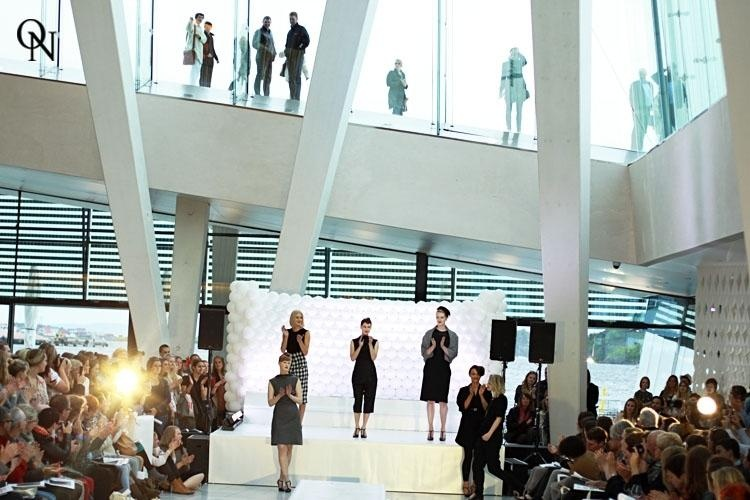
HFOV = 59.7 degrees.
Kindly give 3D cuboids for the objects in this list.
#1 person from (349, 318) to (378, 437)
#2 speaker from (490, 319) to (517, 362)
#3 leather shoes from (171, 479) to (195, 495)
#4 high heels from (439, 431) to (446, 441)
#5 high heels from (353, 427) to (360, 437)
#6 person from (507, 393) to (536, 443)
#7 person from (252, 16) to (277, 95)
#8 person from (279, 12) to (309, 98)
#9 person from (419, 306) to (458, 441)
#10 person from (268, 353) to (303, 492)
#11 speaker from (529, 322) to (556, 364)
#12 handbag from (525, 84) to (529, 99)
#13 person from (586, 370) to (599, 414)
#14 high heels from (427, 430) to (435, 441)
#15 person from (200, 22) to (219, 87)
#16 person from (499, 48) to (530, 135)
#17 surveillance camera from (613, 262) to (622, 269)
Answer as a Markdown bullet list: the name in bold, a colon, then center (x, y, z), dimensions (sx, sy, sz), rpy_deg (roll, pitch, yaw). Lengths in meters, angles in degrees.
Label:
- **person**: center (-0.219, 2.168, 11.238), dimensions (0.484, 1.996, 0.678), rpy_deg (4, -8, -2)
- **speaker**: center (2.224, 1.557, 11.451), dimensions (0.413, 0.736, 0.334), rpy_deg (2, -9, 11)
- **leather shoes**: center (-2.914, 3.633, 10.055), dimensions (0.354, 0.280, 0.153), rpy_deg (2, -5, -2)
- **high heels**: center (1.133, 3.125, 11.008), dimensions (0.088, 0.207, 0.289), rpy_deg (-3, -14, 21)
- **high heels**: center (-0.316, 3.059, 11.012), dimensions (0.114, 0.156, 0.264), rpy_deg (4, -10, 0)
- **person**: center (2.757, 3.241, 12.262), dimensions (0.507, 1.086, 0.647), rpy_deg (3, -12, 8)
- **person**: center (-2.397, -4.195, 14.081), dimensions (0.531, 1.728, 0.190), rpy_deg (5, -8, -8)
- **person**: center (-1.703, -4.155, 13.982), dimensions (0.573, 1.910, 0.168), rpy_deg (3, -8, 1)
- **person**: center (1.052, 2.066, 11.135), dimensions (0.560, 2.261, 0.524), rpy_deg (7, -9, -20)
- **person**: center (-1.423, 2.719, 10.283), dimensions (0.584, 2.109, 0.343), rpy_deg (7, -9, -25)
- **speaker**: center (2.905, 1.594, 11.338), dimensions (0.471, 0.720, 0.250), rpy_deg (3, -8, 5)
- **handbag**: center (3.191, -3.311, 13.753), dimensions (0.097, 0.234, 0.024), rpy_deg (3, -8, 5)
- **person**: center (4.099, 2.786, 12.361), dimensions (0.194, 0.612, 1.126), rpy_deg (1, -11, 18)
- **high heels**: center (0.925, 3.107, 11.008), dimensions (0.114, 0.163, 0.240), rpy_deg (3, -10, 6)
- **person**: center (-3.596, -4.276, 14.244), dimensions (0.397, 1.442, 0.151), rpy_deg (3, -8, 5)
- **person**: center (2.927, -3.373, 13.772), dimensions (0.620, 1.765, 0.205), rpy_deg (2, -8, 13)
- **surveillance camera**: center (5.075, 0.313, 13.768), dimensions (0.147, 0.209, 0.218), rpy_deg (0, -3, 2)
